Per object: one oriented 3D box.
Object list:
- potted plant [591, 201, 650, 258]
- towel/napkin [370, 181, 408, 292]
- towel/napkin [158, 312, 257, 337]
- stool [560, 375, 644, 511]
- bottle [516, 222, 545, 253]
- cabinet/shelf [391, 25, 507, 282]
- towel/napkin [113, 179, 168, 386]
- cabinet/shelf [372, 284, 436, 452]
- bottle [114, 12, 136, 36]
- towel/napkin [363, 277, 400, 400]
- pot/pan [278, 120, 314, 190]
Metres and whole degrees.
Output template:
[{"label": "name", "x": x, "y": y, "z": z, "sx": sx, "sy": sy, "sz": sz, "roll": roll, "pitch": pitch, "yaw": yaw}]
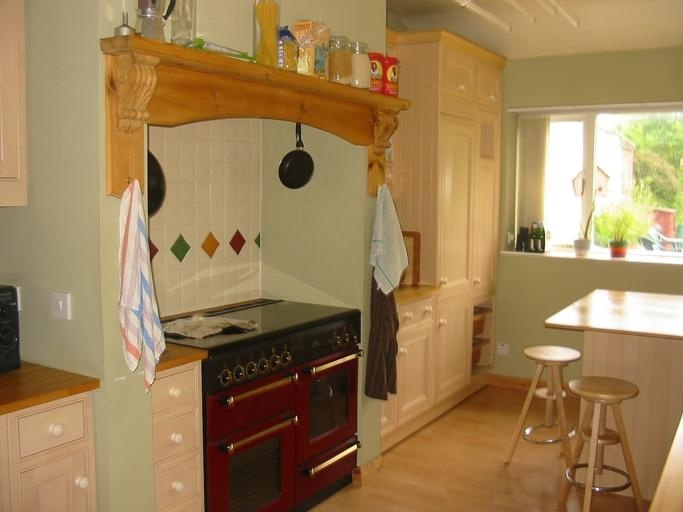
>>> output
[{"label": "potted plant", "x": 2.681, "y": -0.229, "z": 5.499, "sx": 0.495, "sy": 0.608, "sz": 0.427, "roll": 1, "pitch": 0, "yaw": -18}, {"label": "towel/napkin", "x": 0.296, "y": -0.105, "z": 3.622, "sx": 0.231, "sy": 0.670, "sz": 0.202, "roll": 1, "pitch": 10, "yaw": 6}, {"label": "towel/napkin", "x": -0.697, "y": 0.366, "z": 3.118, "sx": 0.496, "sy": 0.051, "sz": 0.373, "roll": -4, "pitch": 11, "yaw": -23}, {"label": "stool", "x": 1.571, "y": 1.107, "z": 3.433, "sx": 0.446, "sy": 0.826, "sz": 0.616, "roll": 6, "pitch": 11, "yaw": 30}, {"label": "bottle", "x": 1.829, "y": -0.171, "z": 5.563, "sx": 0.270, "sy": 0.327, "sz": 0.206, "roll": 2, "pitch": 5, "yaw": 39}, {"label": "cabinet/shelf", "x": 0.930, "y": -0.736, "z": 4.957, "sx": 0.463, "sy": 2.133, "sz": 1.336, "roll": 9, "pitch": 13, "yaw": 41}, {"label": "towel/napkin", "x": -0.825, "y": 0.123, "z": 2.361, "sx": 0.135, "sy": 0.848, "sz": 0.187, "roll": -9, "pitch": 13, "yaw": -42}, {"label": "cabinet/shelf", "x": 0.432, "y": 0.785, "z": 4.075, "sx": 0.387, "sy": 1.070, "sz": 1.080, "roll": 0, "pitch": 4, "yaw": 23}, {"label": "bottle", "x": -0.852, "y": -0.920, "z": 2.299, "sx": 0.102, "sy": 0.099, "sz": 0.071, "roll": 8, "pitch": 12, "yaw": 36}, {"label": "towel/napkin", "x": 0.255, "y": 0.506, "z": 3.668, "sx": 0.207, "sy": 0.761, "sz": 0.186, "roll": 1, "pitch": 10, "yaw": 4}, {"label": "pot/pan", "x": -0.284, "y": -0.617, "z": 3.698, "sx": 0.221, "sy": 0.396, "sz": 0.161, "roll": -1, "pitch": 10, "yaw": -4}]
